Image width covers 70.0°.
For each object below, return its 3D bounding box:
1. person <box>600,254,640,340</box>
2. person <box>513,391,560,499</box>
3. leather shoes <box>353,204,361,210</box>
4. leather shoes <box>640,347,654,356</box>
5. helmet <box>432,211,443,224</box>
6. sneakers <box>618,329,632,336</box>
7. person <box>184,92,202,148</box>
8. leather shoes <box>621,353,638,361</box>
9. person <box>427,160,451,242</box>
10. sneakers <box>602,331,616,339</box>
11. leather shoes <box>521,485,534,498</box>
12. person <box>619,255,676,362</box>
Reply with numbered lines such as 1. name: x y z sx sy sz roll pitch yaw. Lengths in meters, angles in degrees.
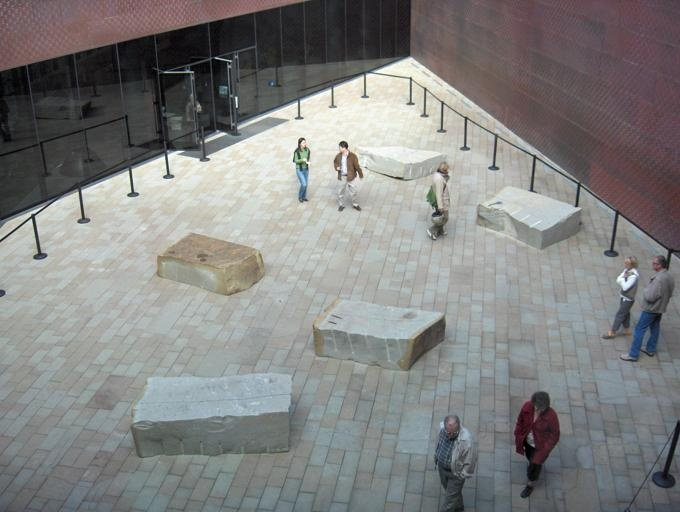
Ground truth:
1. person: 5.502 0.885 9.536 0.761 1.762 0.488 -7 50 18
2. person: 2.555 2.423 6.270 0.416 1.633 0.460 -11 33 -15
3. leather shoes: 0.497 -1.357 13.544 0.253 0.161 0.078 7 57 16
4. leather shoes: 5.579 1.738 8.820 0.082 0.074 0.204 -18 19 -21
5. helmet: 2.417 -0.950 12.139 0.259 0.260 0.305 0 9 6
6. sneakers: 5.413 1.459 9.202 0.292 0.097 0.122 0 -19 35
7. person: -5.007 -4.652 16.627 0.557 1.722 0.893 -10 32 -14
8. leather shoes: 5.163 1.821 8.669 0.243 0.088 0.121 8 41 19
9. person: 2.454 -1.359 12.029 0.542 1.898 0.831 5 32 10
10. sneakers: 5.042 1.487 9.121 0.252 0.092 0.119 -1 30 17
11. leather shoes: 2.506 3.142 6.516 0.097 0.082 0.246 11 27 37
12. person: 5.379 0.968 8.298 0.532 1.963 0.651 19 37 29
